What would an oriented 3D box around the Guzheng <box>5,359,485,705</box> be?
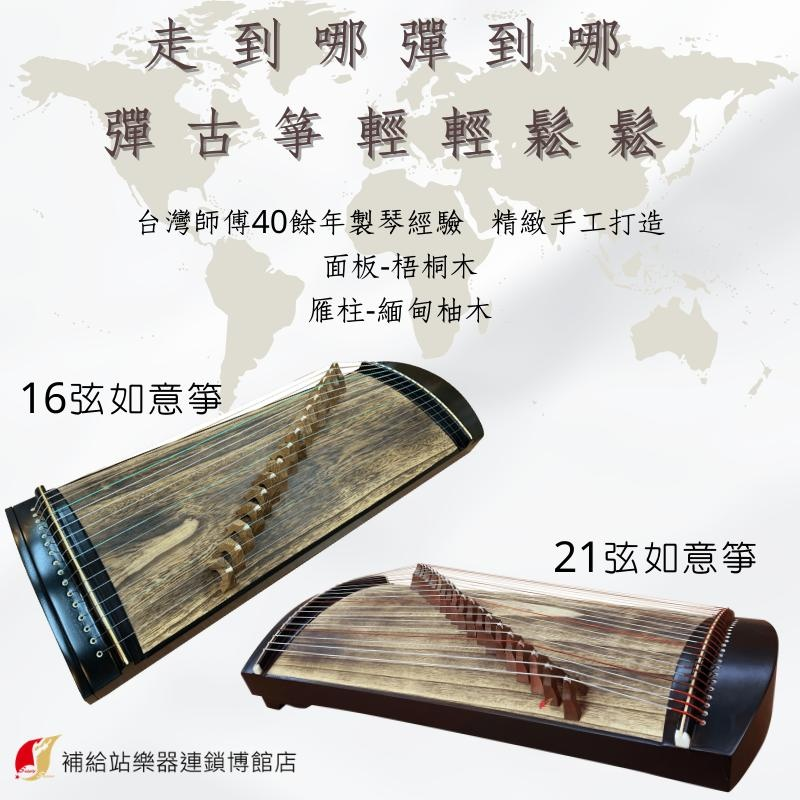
[{"bbox_3d":[-0.389,0.467,2.828,1.633,0.307,0.723,-24,48,-33],"label":"Guzheng"}]
